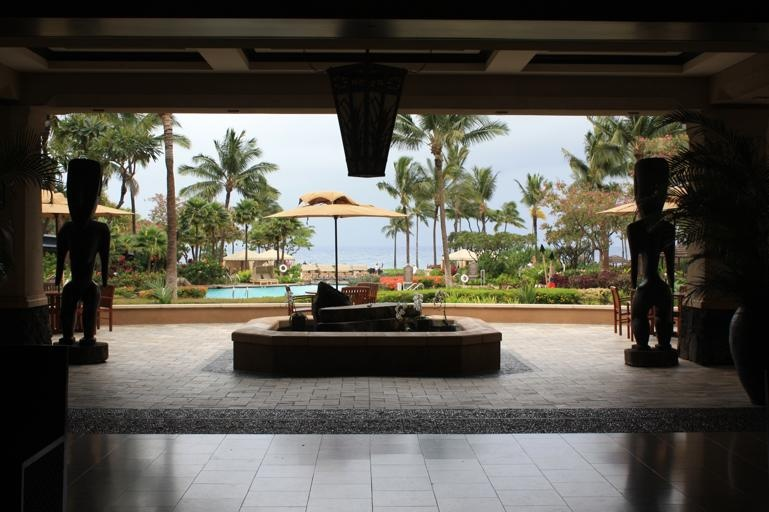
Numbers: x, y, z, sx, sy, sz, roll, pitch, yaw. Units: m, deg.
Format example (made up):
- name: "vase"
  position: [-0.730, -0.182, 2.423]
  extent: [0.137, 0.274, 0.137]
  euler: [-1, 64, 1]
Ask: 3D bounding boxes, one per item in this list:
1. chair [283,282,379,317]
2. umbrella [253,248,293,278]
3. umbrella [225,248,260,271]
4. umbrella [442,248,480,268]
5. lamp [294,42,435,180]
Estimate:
- name: "chair"
  position: [-0.957, 0.853, 11.844]
  extent: [1.285, 0.775, 1.216]
  euler: [-1, 1, -2]
- name: "umbrella"
  position: [-7.834, 0.399, 38.833]
  extent: [2.057, 1.483, 2.042]
  euler: [0, -4, -13]
- name: "umbrella"
  position: [-9.570, 0.280, 38.326]
  extent: [1.976, 0.808, 1.953]
  euler: [-1, -1, -7]
- name: "umbrella"
  position: [4.829, 0.049, 34.351]
  extent: [1.382, 0.870, 3.712]
  euler: [0, 2, 12]
- name: "lamp"
  position: [-0.190, -1.620, 6.472]
  extent: [0.863, 1.473, 0.476]
  euler: [0, 3, -2]
